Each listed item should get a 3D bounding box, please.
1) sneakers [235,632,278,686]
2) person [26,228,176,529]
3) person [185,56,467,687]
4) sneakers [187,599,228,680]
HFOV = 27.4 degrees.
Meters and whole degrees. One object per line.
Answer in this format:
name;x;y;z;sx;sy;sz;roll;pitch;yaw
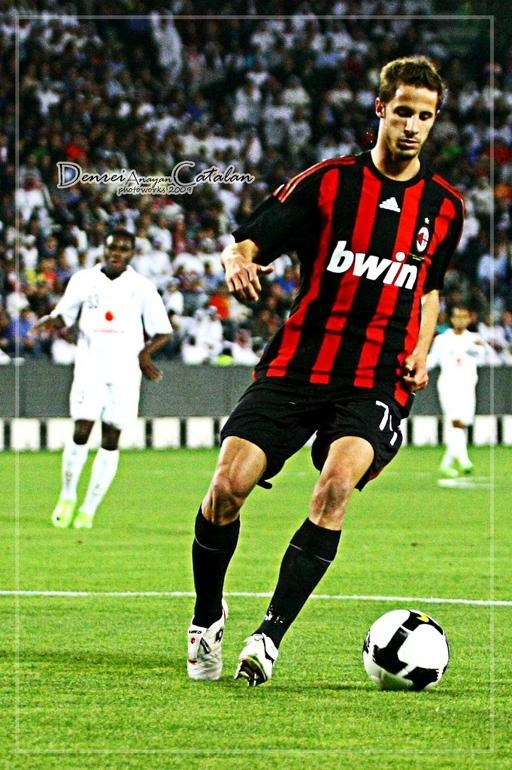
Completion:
sneakers;0.002;0.685;2.641;0.066;0.083;0.175;47;-13;15
person;-0.753;0.030;5.148;0.653;1.580;0.402;7;12;6
person;0.181;-0.092;2.845;0.518;1.606;0.884;11;12;20
sneakers;-0.128;0.709;2.893;0.078;0.087;0.199;3;47;9
